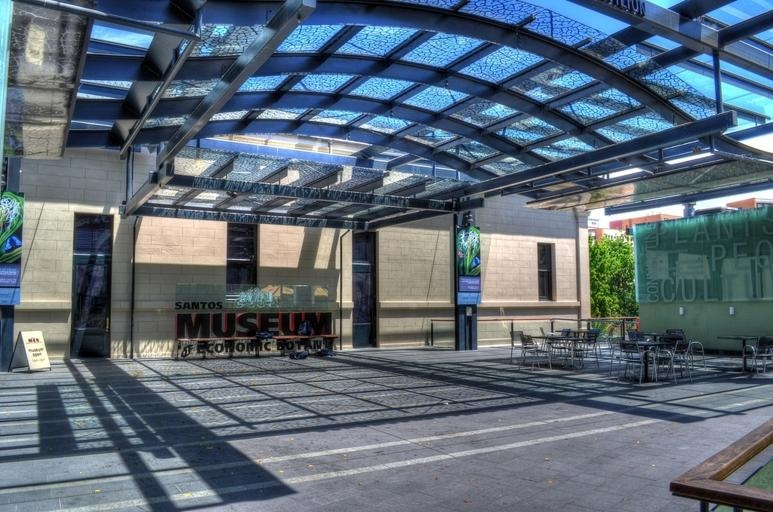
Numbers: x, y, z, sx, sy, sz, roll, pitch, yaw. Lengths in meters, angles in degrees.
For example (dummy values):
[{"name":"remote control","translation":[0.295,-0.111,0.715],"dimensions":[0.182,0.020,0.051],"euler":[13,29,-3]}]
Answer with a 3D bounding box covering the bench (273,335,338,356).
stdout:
[{"name":"bench","translation":[-2.975,3.113,18.415],"dimensions":[2.218,0.706,0.957],"euler":[-1,-4,-10]}]
